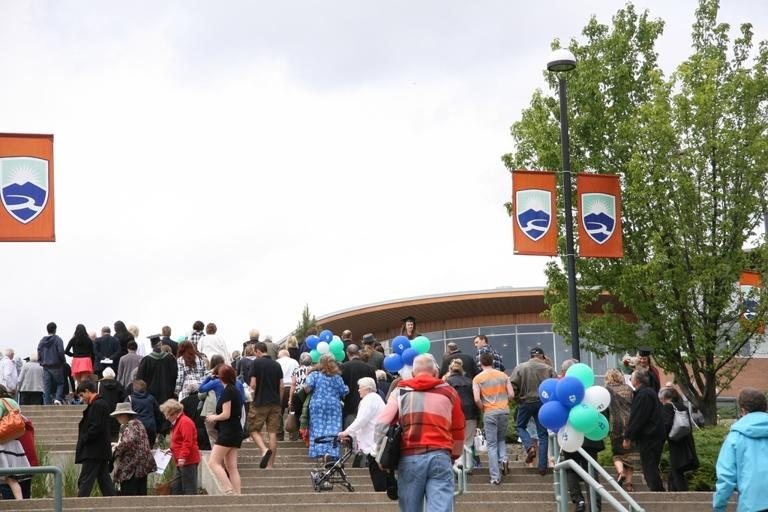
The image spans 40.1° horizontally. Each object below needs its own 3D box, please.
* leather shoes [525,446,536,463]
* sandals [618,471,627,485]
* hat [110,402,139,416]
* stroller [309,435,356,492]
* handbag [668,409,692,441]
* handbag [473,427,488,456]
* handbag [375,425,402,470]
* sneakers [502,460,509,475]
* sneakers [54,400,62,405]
[{"bbox_3d":[3.207,4.384,22.999,0.162,0.180,0.429,-1,-29,-4],"label":"leather shoes"},{"bbox_3d":[4.956,4.657,21.894,0.114,0.354,0.141,-8,24,-6],"label":"sandals"},{"bbox_3d":[-5.292,3.120,21.565,0.359,0.153,0.384,-2,-19,0],"label":"hat"},{"bbox_3d":[-1.031,4.327,22.099,0.840,1.074,0.791,-4,-15,11],"label":"stroller"},{"bbox_3d":[6.405,3.535,22.629,0.625,0.768,0.376,7,-13,-36],"label":"handbag"},{"bbox_3d":[2.154,4.144,23.513,0.349,0.806,0.802,-6,-12,8],"label":"handbag"},{"bbox_3d":[0.087,3.123,17.325,0.402,0.775,0.568,11,-7,16],"label":"handbag"},{"bbox_3d":[2.624,4.556,22.699,0.132,0.300,0.125,-1,-2,-1],"label":"sneakers"},{"bbox_3d":[-8.974,4.021,28.913,0.161,0.189,0.217,0,-22,-5],"label":"sneakers"}]
